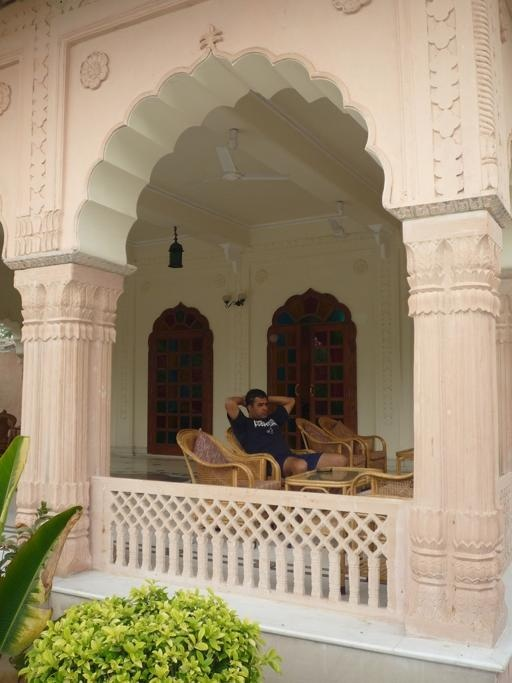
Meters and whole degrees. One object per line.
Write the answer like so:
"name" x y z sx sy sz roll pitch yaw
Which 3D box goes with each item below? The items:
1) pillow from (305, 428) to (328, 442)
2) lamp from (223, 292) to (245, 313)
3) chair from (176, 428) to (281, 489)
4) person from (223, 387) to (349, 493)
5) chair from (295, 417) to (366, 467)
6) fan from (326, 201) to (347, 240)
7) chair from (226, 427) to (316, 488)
"pillow" 0.630 0.957 6.921 0.162 0.113 0.040 16 -32 -15
"lamp" -0.275 -0.532 9.115 0.311 0.199 0.271 2 -8 -3
"chair" -0.183 0.843 4.881 0.767 0.395 0.913 -1 -8 21
"person" 0.265 0.878 5.420 0.940 1.103 0.667 -16 -13 37
"chair" 0.748 0.999 6.852 0.606 0.531 0.465 -2 -4 17
"fan" 0.994 -1.389 8.108 0.262 0.317 0.261 -5 9 -24
"chair" 0.033 0.863 5.181 0.500 0.664 0.430 -6 -9 31
